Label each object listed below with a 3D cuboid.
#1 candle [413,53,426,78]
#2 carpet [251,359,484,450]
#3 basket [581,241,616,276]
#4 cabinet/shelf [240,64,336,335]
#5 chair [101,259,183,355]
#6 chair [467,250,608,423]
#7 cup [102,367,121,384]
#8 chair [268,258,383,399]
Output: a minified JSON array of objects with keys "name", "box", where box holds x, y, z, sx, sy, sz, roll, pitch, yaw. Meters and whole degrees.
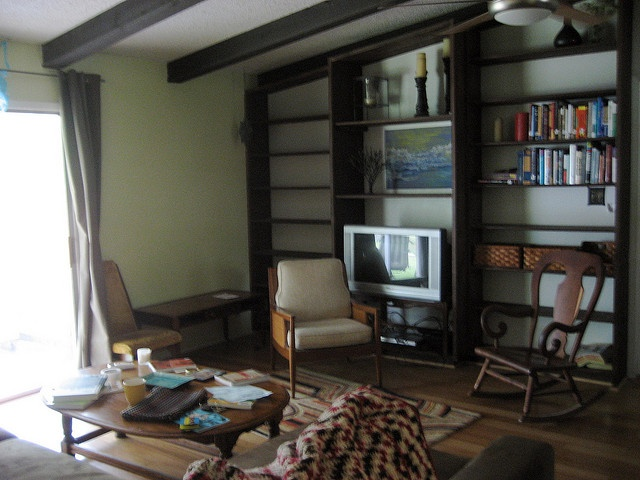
[{"name":"candle","box":[0.938,-1.609,4.897,0.100,0.262,0.315,0,8,11]},{"name":"carpet","box":[0.341,1.075,3.966,1.461,0.020,1.028,-2,-31,28]},{"name":"basket","box":[2.240,0.139,4.268,0.228,0.208,0.126,-17,-26,33]},{"name":"cabinet/shelf","box":[-0.262,-0.497,6.043,0.945,2.401,0.336,14,36,19]},{"name":"chair","box":[-1.605,0.583,4.606,0.529,0.790,0.715,-8,10,-37]},{"name":"chair","box":[1.590,0.704,3.932,0.900,1.160,0.856,-1,6,16]},{"name":"cup","box":[-1.288,0.835,3.270,0.092,0.094,0.091,2,11,0]},{"name":"chair","box":[-0.015,0.687,4.550,0.928,0.967,1.079,-3,4,-32]}]
